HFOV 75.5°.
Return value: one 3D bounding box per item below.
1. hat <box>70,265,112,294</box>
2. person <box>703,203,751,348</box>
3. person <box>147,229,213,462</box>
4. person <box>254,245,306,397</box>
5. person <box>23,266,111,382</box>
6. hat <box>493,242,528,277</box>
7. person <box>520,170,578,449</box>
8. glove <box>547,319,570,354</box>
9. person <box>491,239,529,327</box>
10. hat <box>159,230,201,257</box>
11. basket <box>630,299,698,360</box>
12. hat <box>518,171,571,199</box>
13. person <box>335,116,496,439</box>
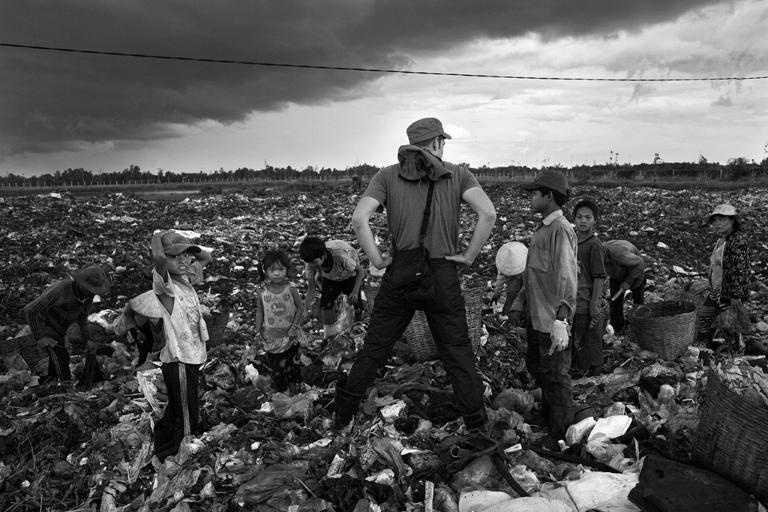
[{"bbox_3d":[-3.577,0.313,6.075,0.457,0.363,0.251,5,14,31],"label":"hat"},{"bbox_3d":[4.198,0.229,6.037,0.494,1.673,0.724,5,14,33],"label":"person"},{"bbox_3d":[-2.013,0.821,4.818,0.697,2.121,0.460,-12,15,-38],"label":"person"},{"bbox_3d":[-1.198,0.717,5.580,0.541,1.583,0.501,-2,12,5],"label":"person"},{"bbox_3d":[-3.812,0.844,6.063,0.848,1.371,0.499,-8,13,-24],"label":"person"},{"bbox_3d":[1.569,0.037,6.057,0.389,0.420,0.213,-15,-26,21],"label":"hat"},{"bbox_3d":[1.618,0.462,4.727,0.444,2.496,0.833,-2,12,5],"label":"person"},{"bbox_3d":[1.619,0.737,4.554,0.097,0.276,0.197,13,-2,5],"label":"glove"},{"bbox_3d":[1.585,0.377,6.225,0.466,0.693,0.981,3,-26,12],"label":"person"},{"bbox_3d":[-1.992,-0.155,4.909,0.261,0.263,0.673,-4,13,-6],"label":"hat"},{"bbox_3d":[3.258,0.838,5.787,0.666,0.514,0.727,5,15,32],"label":"basket"},{"bbox_3d":[1.588,-0.677,4.810,0.375,0.203,0.257,6,6,10],"label":"hat"},{"bbox_3d":[0.350,0.161,4.709,1.368,2.832,0.730,0,12,14],"label":"person"}]
